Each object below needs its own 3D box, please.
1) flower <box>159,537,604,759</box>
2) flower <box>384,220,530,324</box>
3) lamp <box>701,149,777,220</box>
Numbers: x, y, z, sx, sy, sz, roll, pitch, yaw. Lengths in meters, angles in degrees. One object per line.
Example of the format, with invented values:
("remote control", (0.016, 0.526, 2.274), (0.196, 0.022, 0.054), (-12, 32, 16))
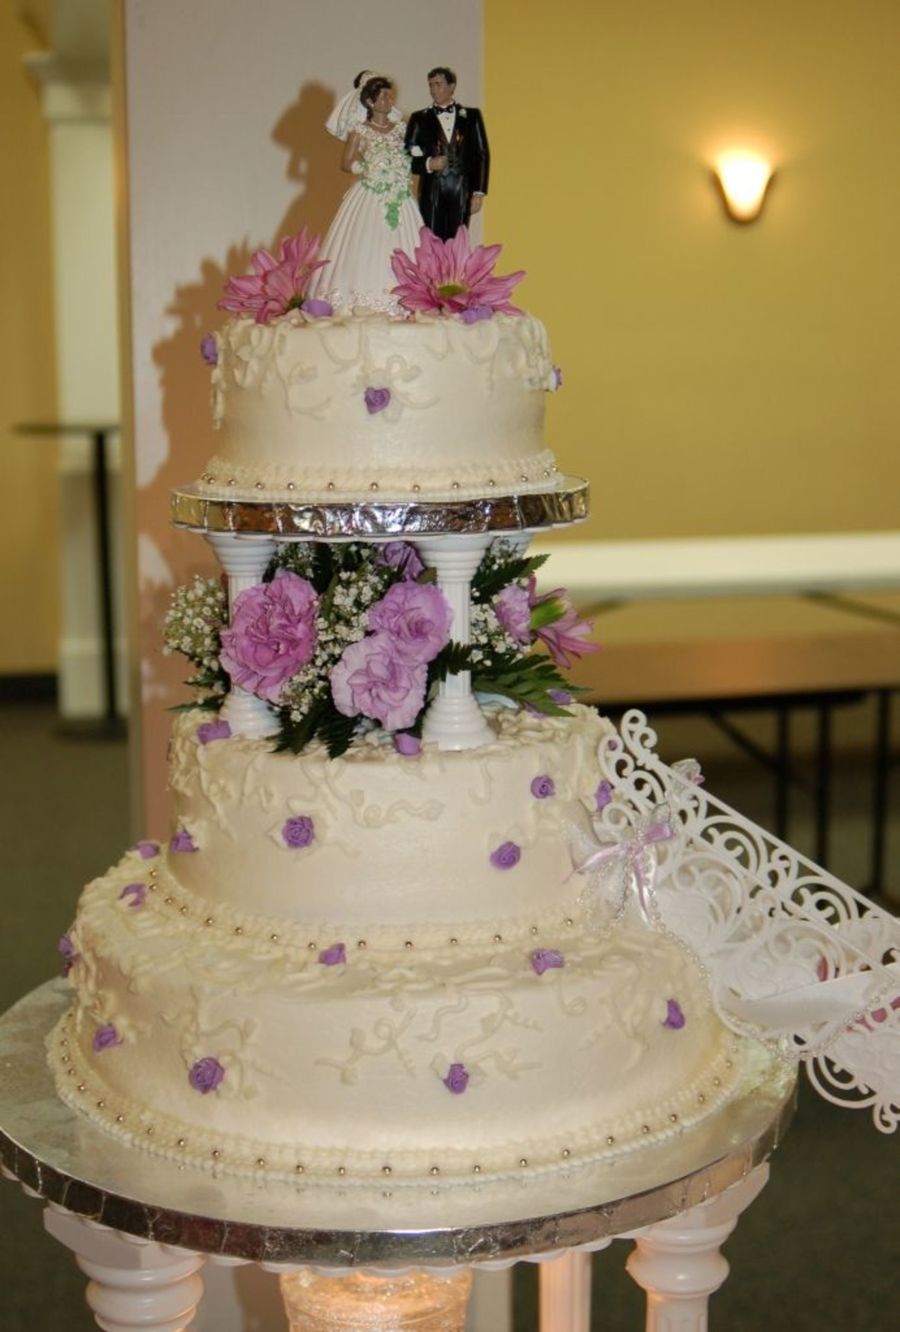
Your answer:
("flower", (-0.098, -0.068, 2.132), (0.561, 0.241, 0.556), (-2, 19, -7))
("flower", (0.001, -0.542, 1.936), (0.175, 0.151, 0.068), (2, -16, -8))
("lamp", (0.805, -1.313, 3.722), (0.186, 0.183, 0.047), (-1, 6, -12))
